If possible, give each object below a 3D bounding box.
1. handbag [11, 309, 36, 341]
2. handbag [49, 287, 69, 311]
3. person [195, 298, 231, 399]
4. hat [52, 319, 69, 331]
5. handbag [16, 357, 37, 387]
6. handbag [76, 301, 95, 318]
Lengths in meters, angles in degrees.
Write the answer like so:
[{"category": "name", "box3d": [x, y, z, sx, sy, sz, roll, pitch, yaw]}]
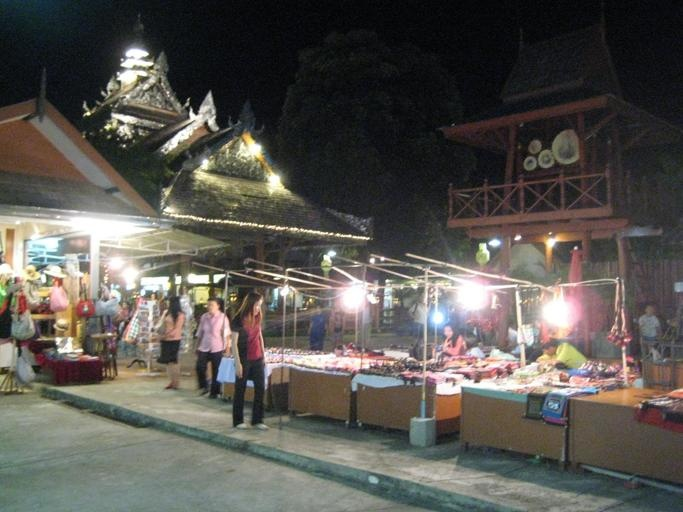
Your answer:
[{"category": "handbag", "box3d": [-7.381, 1.667, 14.589, 0.502, 0.667, 0.536, -6, 9, -29]}, {"category": "handbag", "box3d": [-6.964, 1.058, 15.496, 0.394, 0.632, 0.425, -6, 9, -26]}, {"category": "person", "box3d": [-2.876, 2.044, 14.068, 0.763, 2.247, 0.967, -4, 8, -15]}, {"category": "hat", "box3d": [-7.135, 1.774, 16.032, 0.346, 0.345, 0.574, -6, 9, -25]}, {"category": "handbag", "box3d": [-7.590, 2.793, 15.078, 0.374, 0.853, 0.649, -6, 9, -28]}, {"category": "handbag", "box3d": [-6.336, 1.354, 15.784, 0.401, 0.435, 0.431, -2, -22, 12]}]
